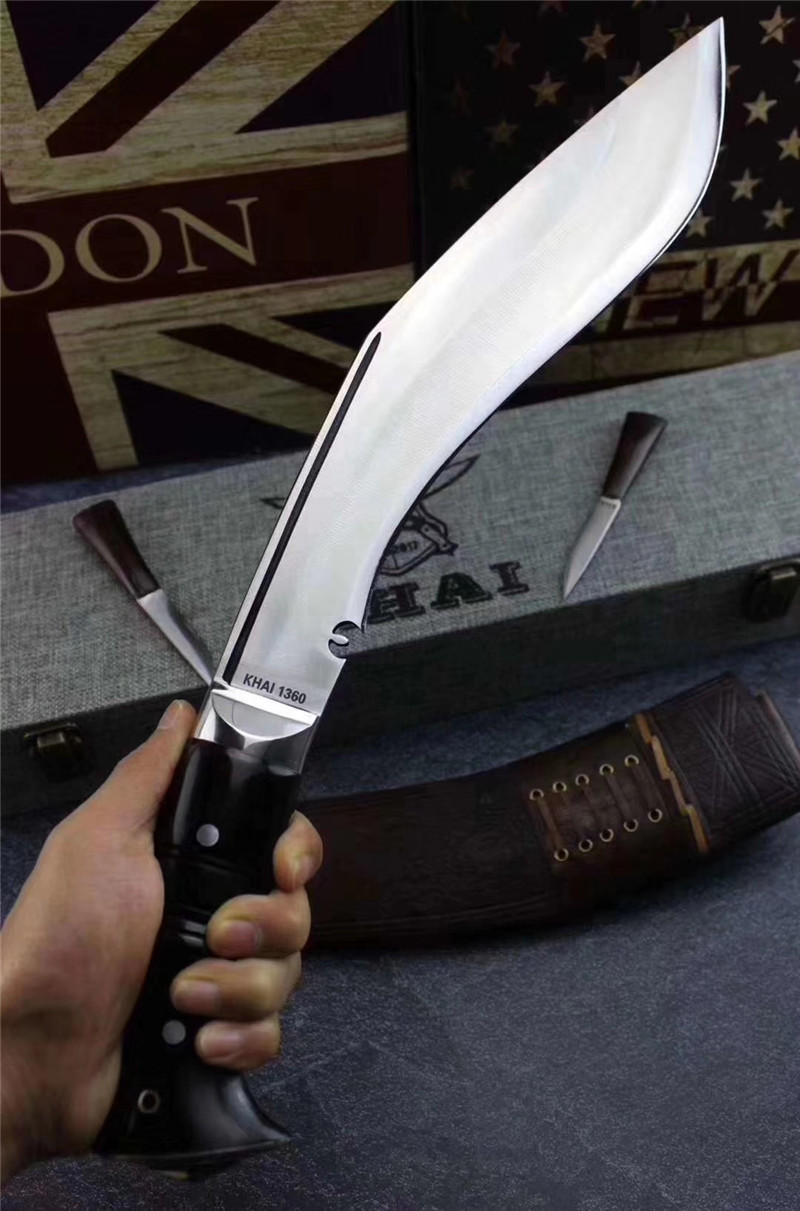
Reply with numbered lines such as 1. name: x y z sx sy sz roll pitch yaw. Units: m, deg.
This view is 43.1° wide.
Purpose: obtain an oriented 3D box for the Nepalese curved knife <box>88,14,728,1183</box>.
1. Nepalese curved knife: 0.054 -0.132 0.629 0.184 0.113 0.840 17 75 6

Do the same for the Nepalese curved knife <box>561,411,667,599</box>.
1. Nepalese curved knife: 0.179 -0.085 0.765 0.045 0.019 0.217 18 57 29
